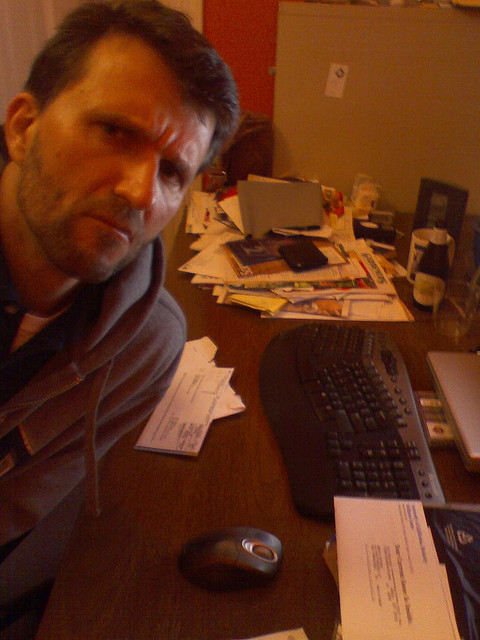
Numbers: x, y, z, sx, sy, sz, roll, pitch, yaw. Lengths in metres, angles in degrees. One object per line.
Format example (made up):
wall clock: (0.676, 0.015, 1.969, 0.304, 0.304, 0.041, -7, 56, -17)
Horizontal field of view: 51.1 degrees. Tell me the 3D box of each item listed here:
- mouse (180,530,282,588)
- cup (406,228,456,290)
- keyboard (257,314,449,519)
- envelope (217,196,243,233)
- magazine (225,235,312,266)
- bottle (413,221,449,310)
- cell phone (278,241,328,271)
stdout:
mouse: (-0.012, 0.284, 0.607, 0.084, 0.035, 0.062, -3, 27, 8)
cup: (0.487, -0.153, 1.271, 0.110, 0.129, 0.070, -20, 43, -26)
keyboard: (0.174, 0.168, 0.818, 0.174, 0.063, 0.439, 8, 31, -7)
envelope: (-0.028, -0.324, 1.561, 0.053, 0.020, 0.155, -24, 49, 6)
magazine: (0.057, -0.157, 1.452, 0.135, 0.027, 0.144, 0, 23, -29)
bottle: (0.469, -0.137, 1.251, 0.084, 0.247, 0.073, 3, 36, 14)
cell phone: (0.174, -0.181, 1.407, 0.111, 0.034, 0.125, -6, 30, -21)
